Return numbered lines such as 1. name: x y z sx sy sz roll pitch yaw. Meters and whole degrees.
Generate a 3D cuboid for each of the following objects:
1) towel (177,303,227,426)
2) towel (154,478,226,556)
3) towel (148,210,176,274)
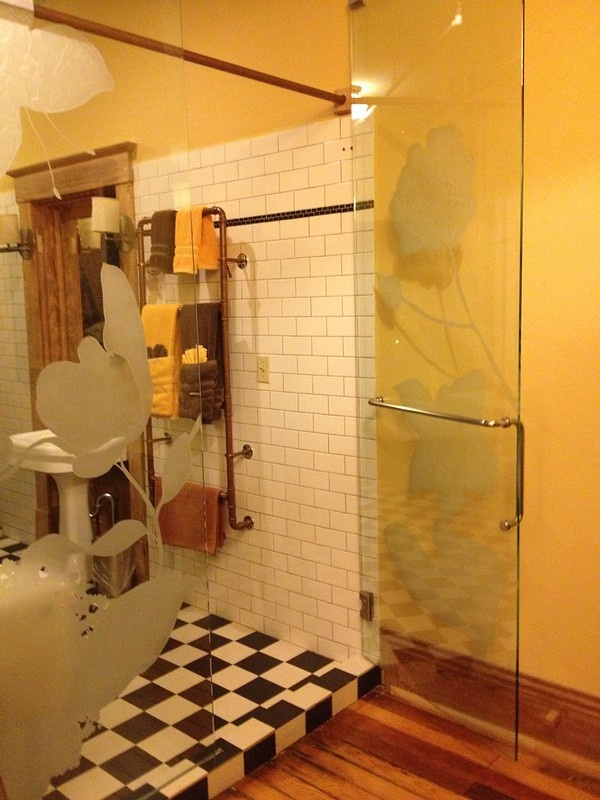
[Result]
1. towel: -0.295 -0.113 1.953 0.155 0.338 0.057 1 0 30
2. towel: -0.286 0.285 1.569 0.035 0.129 0.126 -24 -31 31
3. towel: -0.302 -0.347 1.499 0.091 0.122 0.031 -2 6 -19
